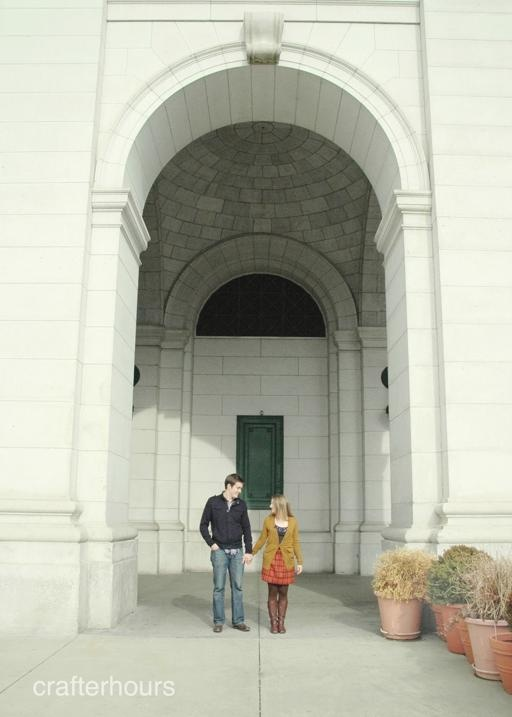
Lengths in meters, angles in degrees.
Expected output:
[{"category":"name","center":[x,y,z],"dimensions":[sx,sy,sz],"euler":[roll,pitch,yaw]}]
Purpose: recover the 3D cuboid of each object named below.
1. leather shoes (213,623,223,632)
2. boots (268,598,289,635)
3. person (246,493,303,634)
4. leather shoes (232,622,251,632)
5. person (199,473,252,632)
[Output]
[{"category":"leather shoes","center":[-0.373,2.614,6.798],"dimensions":[0.088,0.076,0.230],"euler":[-1,-9,-3]},{"category":"boots","center":[0.209,2.530,6.917],"dimensions":[0.165,0.318,0.341],"euler":[-2,-9,1]},{"category":"person","center":[0.204,2.050,7.041],"dimensions":[0.491,1.314,0.596],"euler":[-1,-10,0]},{"category":"leather shoes","center":[-0.158,2.656,6.938],"dimensions":[0.144,0.056,0.070],"euler":[-6,-9,36]},{"category":"person","center":[-0.309,1.941,7.078],"dimensions":[0.513,1.510,0.472],"euler":[-1,-10,-5]}]
